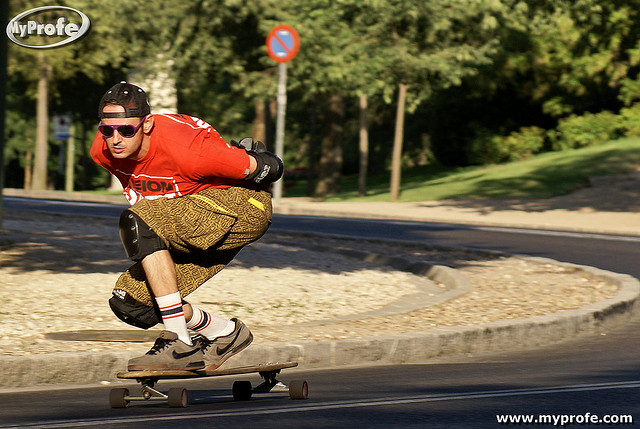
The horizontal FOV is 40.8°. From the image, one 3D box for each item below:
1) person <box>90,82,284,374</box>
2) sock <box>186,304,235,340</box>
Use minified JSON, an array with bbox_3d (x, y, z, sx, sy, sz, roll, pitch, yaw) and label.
[{"bbox_3d":[-0.992,0.104,6.372,1.355,2.139,0.669,0,6,-8],"label":"person"},{"bbox_3d":[-0.829,0.832,6.577,0.387,0.257,0.094,-2,6,-30],"label":"sock"}]
